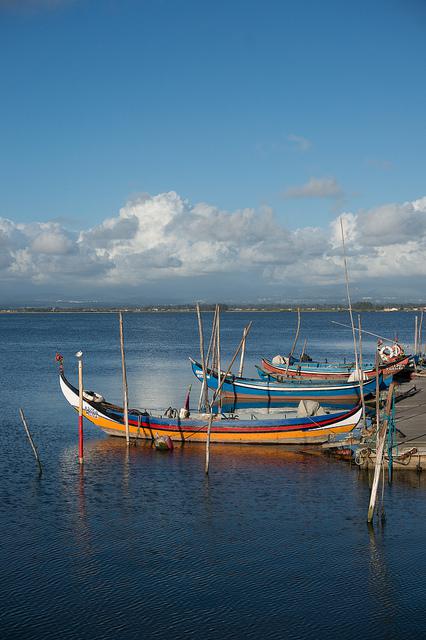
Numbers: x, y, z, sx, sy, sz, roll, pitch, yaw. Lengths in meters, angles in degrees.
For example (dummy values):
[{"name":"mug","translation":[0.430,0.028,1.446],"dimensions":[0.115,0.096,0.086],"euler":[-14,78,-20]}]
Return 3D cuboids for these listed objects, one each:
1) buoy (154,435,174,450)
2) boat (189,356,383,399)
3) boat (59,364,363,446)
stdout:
[{"name":"buoy","translation":[-2.303,5.777,36.137],"dimensions":[0.729,0.478,0.689],"euler":[-2,3,-13]},{"name":"boat","translation":[4.867,4.473,54.578],"dimensions":[13.424,2.369,2.165],"euler":[1,8,12]},{"name":"boat","translation":[-0.368,4.413,38.132],"dimensions":[14.763,3.762,2.654],"euler":[1,5,2]}]
